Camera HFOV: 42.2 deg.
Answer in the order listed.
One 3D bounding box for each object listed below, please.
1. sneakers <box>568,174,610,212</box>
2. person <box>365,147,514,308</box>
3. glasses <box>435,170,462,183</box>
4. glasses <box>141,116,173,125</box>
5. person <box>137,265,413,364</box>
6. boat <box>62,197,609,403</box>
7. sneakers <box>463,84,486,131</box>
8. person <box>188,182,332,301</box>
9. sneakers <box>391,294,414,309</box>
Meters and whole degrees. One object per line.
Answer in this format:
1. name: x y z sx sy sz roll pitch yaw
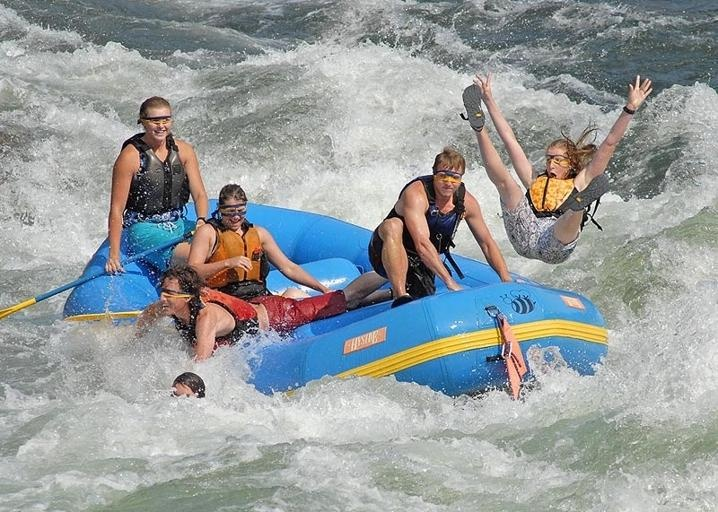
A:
1. sneakers: 1.953 -0.537 7.939 0.346 0.123 0.245 -38 -3 8
2. person: 0.815 -0.221 8.703 1.574 1.425 1.102 8 11 33
3. glasses: 0.812 -0.728 8.475 0.250 0.147 0.147 1 12 1
4. glasses: -1.954 -1.317 8.994 0.318 0.109 0.153 1 12 -2
5. person: -0.761 0.431 8.683 2.026 0.705 0.819 -12 8 1
6. boat: -0.175 0.535 8.563 3.741 0.690 2.169 15 24 30
7. sneakers: 1.046 -1.348 8.501 0.275 0.388 0.108 -9 -4 -2
8. person: -0.908 0.002 8.888 1.448 1.225 0.916 -5 20 -21
9. sneakers: 0.380 0.400 8.349 0.087 0.093 0.249 -2 -9 -29
